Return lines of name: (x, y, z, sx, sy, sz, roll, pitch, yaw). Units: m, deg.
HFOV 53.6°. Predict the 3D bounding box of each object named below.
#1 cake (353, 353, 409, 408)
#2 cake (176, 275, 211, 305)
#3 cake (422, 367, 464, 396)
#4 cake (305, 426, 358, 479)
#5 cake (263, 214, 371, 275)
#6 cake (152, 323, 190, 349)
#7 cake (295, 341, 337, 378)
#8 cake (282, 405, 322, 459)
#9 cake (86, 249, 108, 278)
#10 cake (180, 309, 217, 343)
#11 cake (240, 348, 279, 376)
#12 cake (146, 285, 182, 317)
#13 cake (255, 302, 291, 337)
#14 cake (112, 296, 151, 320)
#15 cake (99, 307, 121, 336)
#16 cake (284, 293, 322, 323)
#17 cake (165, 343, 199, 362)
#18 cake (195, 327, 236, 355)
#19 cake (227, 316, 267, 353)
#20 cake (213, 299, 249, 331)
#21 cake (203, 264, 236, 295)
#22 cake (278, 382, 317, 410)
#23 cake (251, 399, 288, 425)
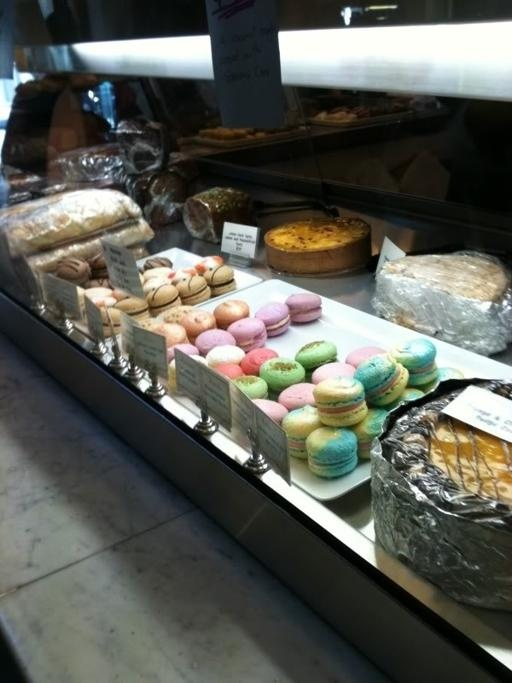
cake: (0.195, 0.049, 0.814, 0.078, 0.057, 0.077, -30, 58, -2)
cake: (-0.167, -0.132, 1.377, 0.080, 0.064, 0.077, -28, 38, -25)
cake: (0.295, 0.059, 0.822, 0.064, 0.030, 0.063, -9, 15, 25)
cake: (0.111, 0.156, 0.755, 0.074, 0.059, 0.070, -4, 26, -1)
cake: (0.181, -0.299, 1.346, 0.227, 0.070, 0.217, -14, 31, -17)
cake: (-0.181, -0.018, 1.098, 0.063, 0.038, 0.057, 4, 34, -12)
cake: (0.114, 0.024, 0.972, 0.071, 0.045, 0.067, -22, 21, -12)
cake: (0.065, 0.133, 0.765, 0.075, 0.065, 0.071, -1, 18, 4)
cake: (-0.443, -0.224, 1.422, 0.065, 0.079, 0.030, 8, 16, 5)
cake: (-0.129, -0.034, 1.203, 0.077, 0.068, 0.072, -15, 43, -9)
cake: (0.004, 0.034, 1.006, 0.058, 0.026, 0.055, -17, 32, -15)
cake: (-0.233, -0.107, 1.254, 0.080, 0.055, 0.076, -11, 19, 10)
cake: (0.044, -0.051, 1.203, 0.079, 0.052, 0.076, -29, 35, -16)
cake: (-0.302, -0.091, 1.201, 0.065, 0.035, 0.062, 1, 21, 0)
cake: (-0.344, -0.043, 1.188, 0.046, 0.061, 0.064, -9, -13, 23)
cake: (0.112, -0.077, 1.213, 0.074, 0.049, 0.072, -18, 38, -17)
cake: (-0.152, 0.017, 1.049, 0.040, 0.026, 0.049, -11, 18, -27)
cake: (-0.086, 0.000, 1.080, 0.058, 0.030, 0.054, 4, 35, 2)
cake: (-0.016, -0.014, 1.155, 0.074, 0.051, 0.074, -27, 33, -9)
cake: (-0.056, -0.069, 1.174, 0.075, 0.049, 0.070, -15, 34, -13)
cake: (-0.095, -0.170, 1.408, 0.068, 0.065, 0.084, -32, 42, -27)
cake: (0.071, 0.091, 0.849, 0.048, 0.019, 0.047, -19, 23, -27)
cake: (0.021, 0.111, 0.832, 0.048, 0.021, 0.050, 21, 9, 29)
